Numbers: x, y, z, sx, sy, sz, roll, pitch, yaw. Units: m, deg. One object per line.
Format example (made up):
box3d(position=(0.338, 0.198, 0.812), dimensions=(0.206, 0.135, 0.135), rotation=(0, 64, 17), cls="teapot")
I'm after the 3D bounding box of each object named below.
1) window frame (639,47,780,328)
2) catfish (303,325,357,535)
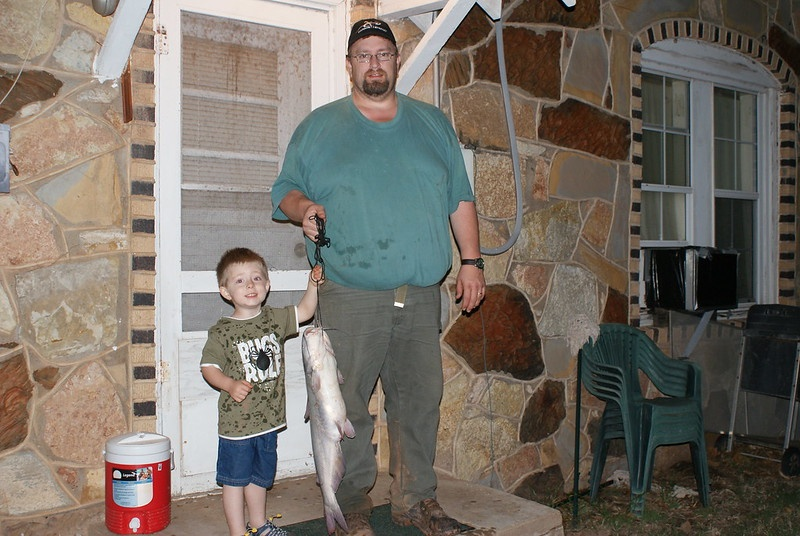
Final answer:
box3d(position=(3.287, -0.846, 7.417), dimensions=(3.033, 3.670, 0.312), rotation=(1, -1, -40), cls="window frame")
box3d(position=(-0.406, 0.857, 3.678), dimensions=(0.254, 1.022, 0.355), rotation=(2, 4, -6), cls="catfish")
